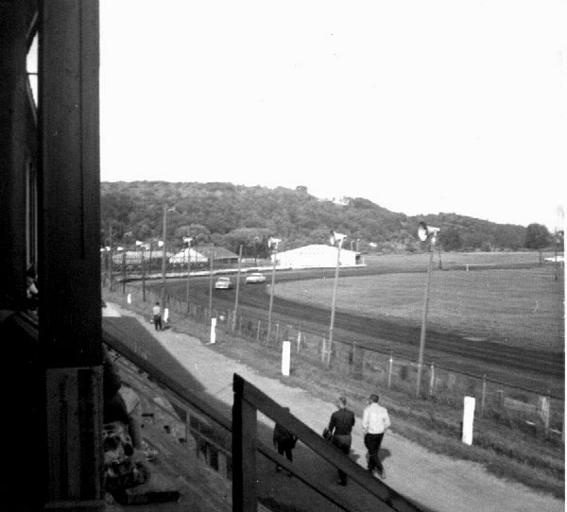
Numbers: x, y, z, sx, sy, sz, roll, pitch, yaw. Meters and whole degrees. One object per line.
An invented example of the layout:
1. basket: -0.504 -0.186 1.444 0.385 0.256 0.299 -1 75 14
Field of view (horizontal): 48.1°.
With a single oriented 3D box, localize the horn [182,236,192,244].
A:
1. horn: -3.253 -0.570 21.554 0.288 0.401 0.134 -2 -7 -19
